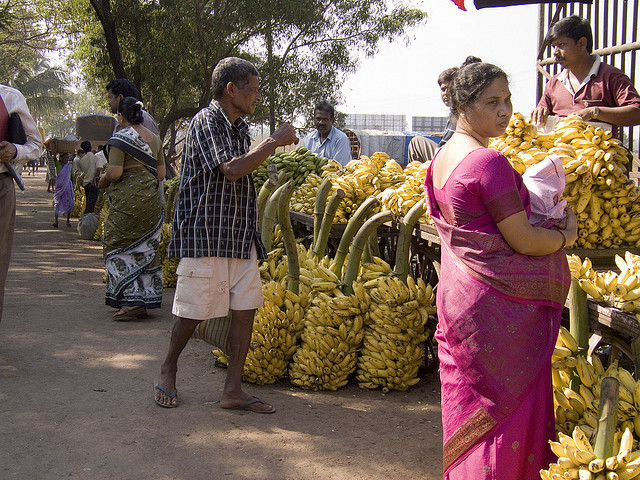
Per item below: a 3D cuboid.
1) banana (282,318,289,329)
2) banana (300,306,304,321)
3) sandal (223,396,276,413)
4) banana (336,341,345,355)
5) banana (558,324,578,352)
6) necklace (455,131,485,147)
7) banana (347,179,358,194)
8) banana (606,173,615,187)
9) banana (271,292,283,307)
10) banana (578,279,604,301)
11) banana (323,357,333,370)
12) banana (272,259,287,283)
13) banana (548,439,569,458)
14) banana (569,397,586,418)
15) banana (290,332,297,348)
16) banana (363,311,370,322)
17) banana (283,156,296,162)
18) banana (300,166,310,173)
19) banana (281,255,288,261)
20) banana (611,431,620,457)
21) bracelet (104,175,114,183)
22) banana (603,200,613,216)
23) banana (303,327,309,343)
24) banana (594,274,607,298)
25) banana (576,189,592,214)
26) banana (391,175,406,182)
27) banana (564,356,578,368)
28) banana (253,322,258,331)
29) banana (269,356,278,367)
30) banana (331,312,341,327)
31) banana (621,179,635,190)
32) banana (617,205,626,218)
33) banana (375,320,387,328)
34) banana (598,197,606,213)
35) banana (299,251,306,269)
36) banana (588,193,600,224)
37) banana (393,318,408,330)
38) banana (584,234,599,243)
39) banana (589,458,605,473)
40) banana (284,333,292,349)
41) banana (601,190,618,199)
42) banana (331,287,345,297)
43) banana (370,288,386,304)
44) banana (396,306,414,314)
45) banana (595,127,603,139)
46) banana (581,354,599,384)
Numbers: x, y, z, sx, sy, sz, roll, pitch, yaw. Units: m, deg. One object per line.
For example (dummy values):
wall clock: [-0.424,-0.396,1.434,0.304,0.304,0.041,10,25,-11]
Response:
banana: [-0.279,0.669,4.449,0.042,0.082,0.029,-36,57,-21]
banana: [-0.142,0.611,4.537,0.030,0.070,0.053,5,2,4]
sandal: [-0.489,1.192,4.003,0.305,0.083,0.120,-1,13,2]
banana: [0.171,0.866,4.419,0.034,0.125,0.039,27,-3,-16]
banana: [1.281,0.510,2.830,0.048,0.151,0.053,-36,-1,-38]
necklace: [0.716,-0.484,2.619,0.138,0.071,0.056,6,8,23]
banana: [0.325,-0.529,5.335,0.053,0.190,0.040,-15,-33,-7]
banana: [1.766,-0.365,3.339,0.036,0.083,0.079,8,10,39]
banana: [-0.347,0.488,4.484,0.043,0.160,0.054,-24,-28,-26]
banana: [1.416,0.262,2.859,0.028,0.111,0.037,-35,-18,-35]
banana: [0.067,0.985,4.392,0.052,0.085,0.021,-36,7,-25]
banana: [-0.353,0.281,4.878,0.088,0.193,0.054,25,-3,0]
banana: [1.076,0.944,2.478,0.031,0.106,0.037,-40,-2,-6]
banana: [1.287,0.829,2.736,0.034,0.129,0.043,-37,-9,10]
banana: [-0.212,0.824,4.534,0.020,0.065,0.048,1,-16,39]
banana: [0.383,0.630,4.507,0.051,0.072,0.018,2,-8,39]
banana: [-0.376,-0.992,6.715,0.112,0.028,0.077,-4,-34,19]
banana: [-0.190,-0.843,6.582,0.054,0.070,0.106,-5,11,-44]
banana: [-0.318,0.164,5.014,0.048,0.017,0.055,16,0,11]
banana: [1.331,0.922,2.471,0.028,0.115,0.036,3,-4,-23]
bracelet: [-2.212,-0.648,5.767,0.065,0.018,0.069,18,-31,-24]
banana: [1.771,-0.195,3.368,0.046,0.075,0.042,-14,-25,25]
banana: [-0.107,0.769,4.482,0.020,0.093,0.034,-12,-16,21]
banana: [1.461,0.236,2.879,0.040,0.129,0.033,-24,3,-42]
banana: [1.617,-0.231,3.361,0.086,0.143,0.032,1,8,-11]
banana: [0.736,-0.575,5.135,0.122,0.067,0.091,3,8,2]
banana: [1.289,0.623,2.816,0.054,0.045,0.029,30,-6,-35]
banana: [-0.517,0.705,4.435,0.029,0.090,0.023,-10,0,8]
banana: [-0.368,0.982,4.436,0.050,0.071,0.030,1,2,-22]
banana: [0.133,0.650,4.468,0.059,0.123,0.035,-26,-3,21]
banana: [1.893,-0.339,3.362,0.050,0.024,0.069,-40,15,-5]
banana: [1.846,-0.173,3.361,0.040,0.069,0.039,8,4,-1]
banana: [0.496,0.666,4.433,0.043,0.034,0.118,-10,16,-35]
banana: [1.736,-0.216,3.388,0.023,0.097,0.031,-16,-2,1]
banana: [-0.151,0.184,4.904,0.035,0.045,0.138,15,41,-25]
banana: [1.679,-0.200,3.352,0.055,0.194,0.055,1,-9,1]
banana: [0.645,0.669,4.372,0.118,0.058,0.038,43,6,-14]
banana: [1.687,-0.011,3.393,0.047,0.038,0.061,14,-20,-38]
banana: [1.218,0.988,2.410,0.047,0.037,0.062,-12,-1,18]
banana: [-0.252,0.819,4.486,0.033,0.100,0.070,4,4,42]
banana: [1.774,-0.280,3.373,0.080,0.056,0.034,5,8,20]
banana: [0.158,0.432,4.568,0.060,0.056,0.153,-2,9,-28]
banana: [0.479,0.469,4.450,0.042,0.134,0.079,-34,-2,-29]
banana: [0.666,0.555,4.355,0.098,0.060,0.034,16,16,2]
banana: [1.734,-0.663,3.411,0.044,0.066,0.047,5,8,23]
banana: [1.369,0.653,2.832,0.052,0.042,0.155,-5,48,-27]
